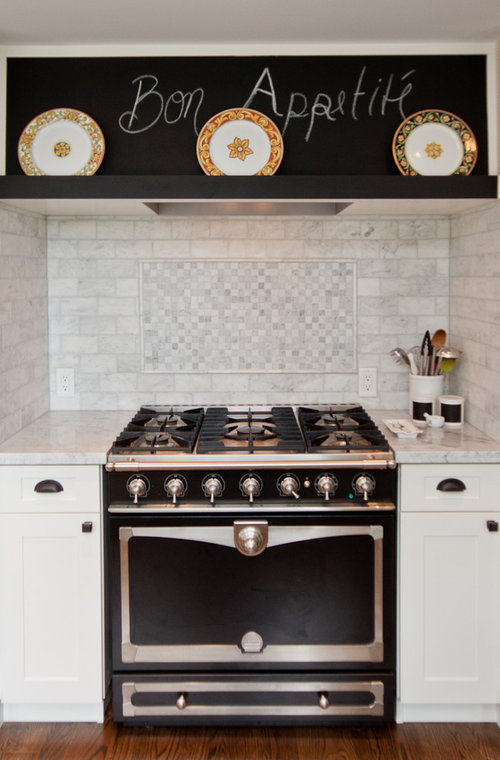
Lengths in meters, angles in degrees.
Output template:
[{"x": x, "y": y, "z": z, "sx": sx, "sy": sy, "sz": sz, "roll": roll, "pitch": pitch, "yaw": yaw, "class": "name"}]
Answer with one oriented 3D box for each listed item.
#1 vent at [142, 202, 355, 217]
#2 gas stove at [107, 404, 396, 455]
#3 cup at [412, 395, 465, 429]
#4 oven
[{"x": -0.011, "y": -0.659, "z": 2.683, "sx": 0.691, "sy": 0.050, "sz": 0.079, "roll": 1, "pitch": 14, "yaw": 2, "class": "vent"}, {"x": 0.000, "y": 0.160, "z": 2.430, "sx": 0.881, "sy": 0.081, "sz": 0.652, "roll": 0, "pitch": 14, "yaw": 0, "class": "gas stove"}, {"x": 0.687, "y": 0.110, "z": 2.509, "sx": 0.101, "sy": 0.079, "sz": 0.169, "roll": -3, "pitch": 4, "yaw": -29, "class": "cup"}, {"x": 0.012, "y": 0.686, "z": 2.396, "sx": 0.920, "sy": 0.863, "sz": 0.599, "roll": -1, "pitch": -9, "yaw": 2, "class": "oven"}]
